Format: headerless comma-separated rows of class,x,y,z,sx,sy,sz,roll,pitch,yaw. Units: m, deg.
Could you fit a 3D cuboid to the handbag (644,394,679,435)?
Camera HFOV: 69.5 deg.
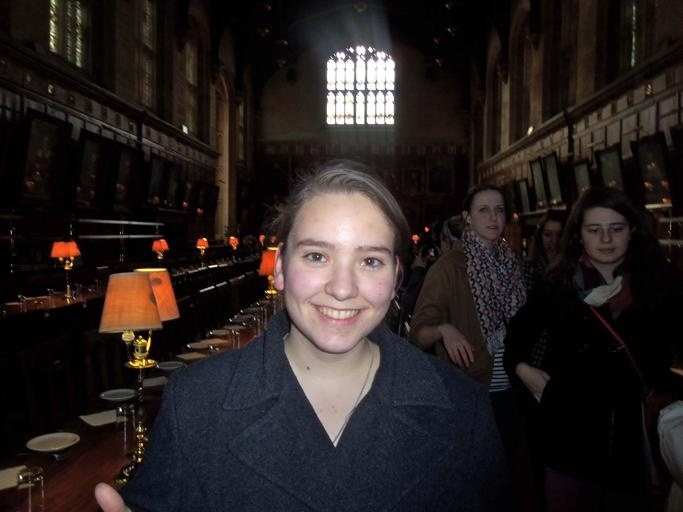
handbag,1.499,0.736,2.342,0.125,0.198,0.054,-1,-6,45

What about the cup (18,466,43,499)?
cup,-1.420,1.033,2.252,0.095,0.153,0.102,-3,0,0
